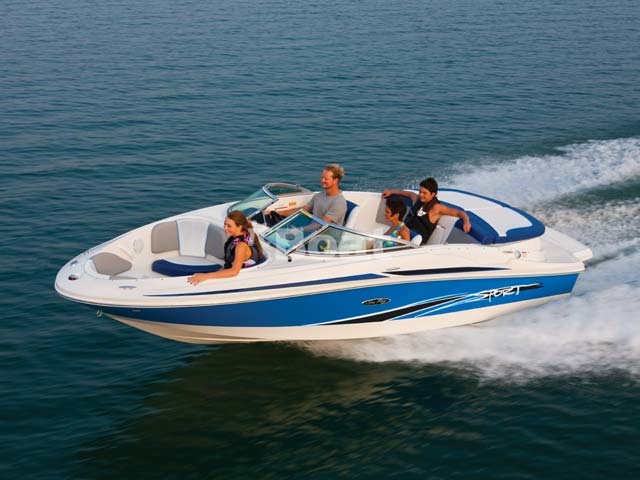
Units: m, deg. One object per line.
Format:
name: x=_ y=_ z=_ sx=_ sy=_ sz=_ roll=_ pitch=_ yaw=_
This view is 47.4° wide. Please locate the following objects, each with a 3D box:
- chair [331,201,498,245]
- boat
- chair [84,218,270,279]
chair: x=1.825 y=-0.222 z=13.689 sx=2.114 sy=0.522 sz=1.136 roll=14 pitch=15 yaw=-21
boat: x=-0.190 y=0.537 z=13.423 sx=11.286 sy=1.704 sz=2.931 roll=-4 pitch=24 yaw=-12
chair: x=-2.589 y=0.180 z=13.377 sx=2.817 sy=0.550 sz=1.579 roll=-7 pitch=23 yaw=-29
